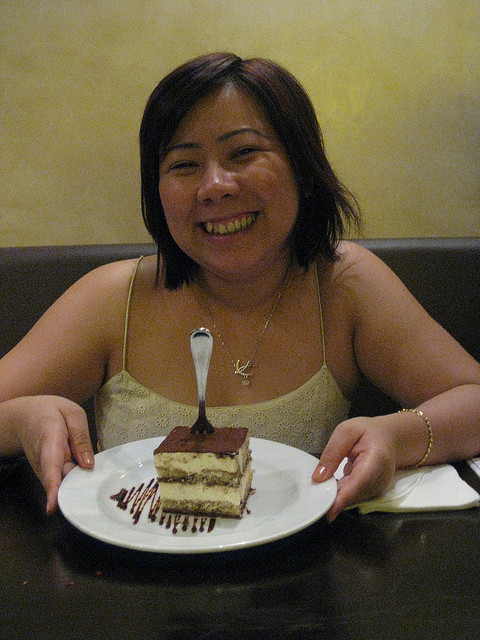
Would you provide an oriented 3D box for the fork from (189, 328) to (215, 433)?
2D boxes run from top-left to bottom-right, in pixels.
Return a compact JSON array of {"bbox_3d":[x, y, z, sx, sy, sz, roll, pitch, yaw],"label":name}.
[{"bbox_3d":[-0.061,0.096,0.915,0.039,0.170,0.093,-2,9,-3],"label":"fork"}]

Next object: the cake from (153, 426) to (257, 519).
[{"bbox_3d":[-0.055,0.226,0.903,0.161,0.102,0.217,-2,9,0],"label":"cake"}]
